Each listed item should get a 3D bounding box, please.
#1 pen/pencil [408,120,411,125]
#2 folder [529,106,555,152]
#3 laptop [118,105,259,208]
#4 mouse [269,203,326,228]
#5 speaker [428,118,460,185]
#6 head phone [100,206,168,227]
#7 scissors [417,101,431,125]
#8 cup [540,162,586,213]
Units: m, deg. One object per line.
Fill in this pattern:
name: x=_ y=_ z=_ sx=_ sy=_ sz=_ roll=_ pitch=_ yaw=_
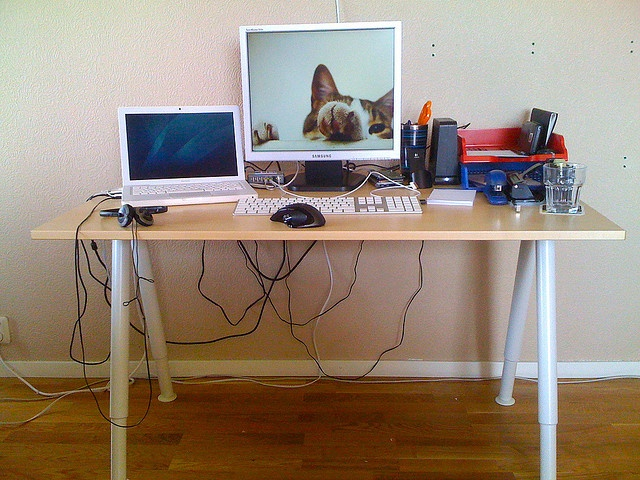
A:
pen/pencil: x=0.373 y=-0.488 z=2.359 sx=0.014 sy=0.015 sz=0.062 roll=-2 pitch=21 yaw=9
folder: x=0.903 y=-0.457 z=2.326 sx=0.075 sy=0.159 sz=0.233 roll=1 pitch=15 yaw=8
laptop: x=-0.586 y=-0.356 z=2.436 sx=0.522 sy=0.285 sz=0.433 roll=-5 pitch=-7 yaw=-7
mouse: x=-0.075 y=-0.085 z=1.929 sx=0.130 sy=0.040 sz=0.092 roll=3 pitch=14 yaw=15
speaker: x=0.505 y=-0.352 z=2.287 sx=0.089 sy=0.210 sz=0.241 roll=1 pitch=24 yaw=5
head phone: x=-0.653 y=-0.098 z=1.999 sx=0.232 sy=0.077 sz=0.179 roll=-6 pitch=16 yaw=-19
scissors: x=0.435 y=-0.527 z=2.346 sx=0.047 sy=0.091 sz=0.134 roll=3 pitch=16 yaw=15
cup: x=0.875 y=-0.186 z=2.049 sx=0.140 sy=0.152 sz=0.140 roll=0 pitch=7 yaw=0
